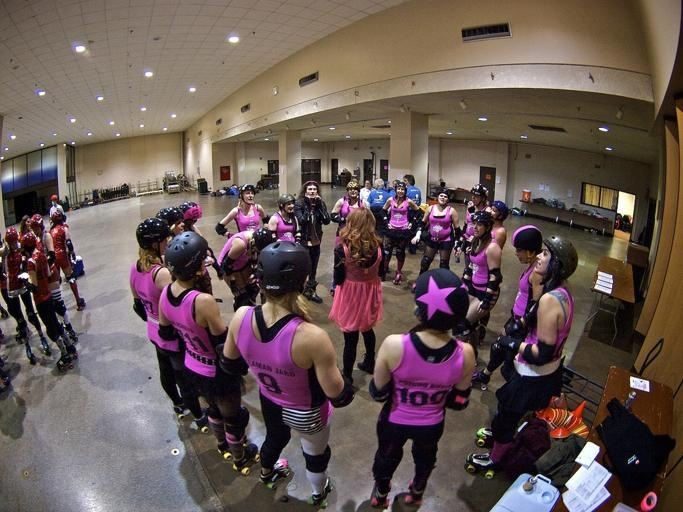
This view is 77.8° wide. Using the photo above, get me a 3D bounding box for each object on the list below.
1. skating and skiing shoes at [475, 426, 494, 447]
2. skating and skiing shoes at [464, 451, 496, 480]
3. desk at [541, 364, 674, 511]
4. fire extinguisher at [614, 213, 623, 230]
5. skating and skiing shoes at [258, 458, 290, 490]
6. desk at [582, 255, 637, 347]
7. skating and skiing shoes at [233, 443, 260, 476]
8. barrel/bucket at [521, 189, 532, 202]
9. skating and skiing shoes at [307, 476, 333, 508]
[{"bbox_3d":[1.560,1.960,4.651,0.146,0.269,0.109,3,1,6],"label":"skating and skiing shoes"},{"bbox_3d":[1.419,2.124,4.321,0.285,0.167,0.166,10,47,-1],"label":"skating and skiing shoes"},{"bbox_3d":[2.345,1.519,3.434,0.518,0.947,1.083,8,13,41],"label":"desk"},{"bbox_3d":[9.233,-1.153,14.071,0.189,0.514,0.189,6,11,35],"label":"fire extinguisher"},{"bbox_3d":[-0.668,2.112,4.194,0.162,0.165,0.310,13,24,30],"label":"skating and skiing shoes"},{"bbox_3d":[4.733,0.690,7.408,0.681,0.875,2.411,6,12,34],"label":"desk"},{"bbox_3d":[-0.970,2.053,4.413,0.163,0.220,0.311,10,32,19],"label":"skating and skiing shoes"},{"bbox_3d":[7.604,-2.477,17.338,0.272,0.569,0.523,2,4,-27],"label":"barrel/bucket"},{"bbox_3d":[-0.191,2.253,4.032,0.124,0.180,0.353,1,31,19],"label":"skating and skiing shoes"}]
